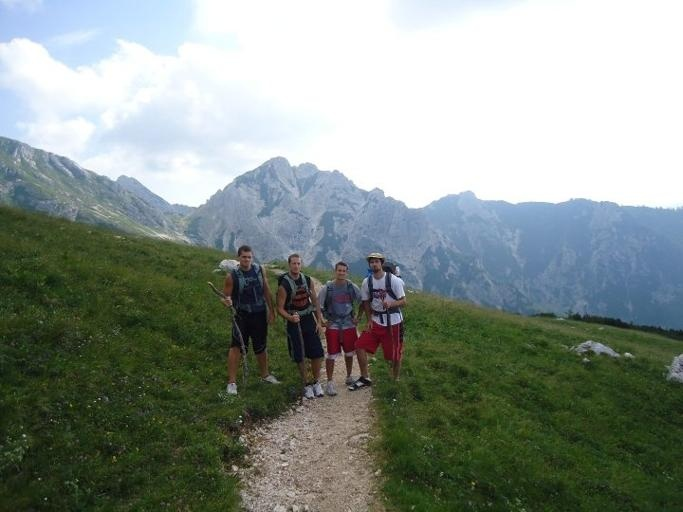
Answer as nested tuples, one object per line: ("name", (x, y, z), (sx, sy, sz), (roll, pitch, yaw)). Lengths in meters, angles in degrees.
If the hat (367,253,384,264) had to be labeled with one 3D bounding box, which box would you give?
("hat", (1.581, 0.061, 23.614), (0.795, 0.531, 1.015), (5, 8, -10))
